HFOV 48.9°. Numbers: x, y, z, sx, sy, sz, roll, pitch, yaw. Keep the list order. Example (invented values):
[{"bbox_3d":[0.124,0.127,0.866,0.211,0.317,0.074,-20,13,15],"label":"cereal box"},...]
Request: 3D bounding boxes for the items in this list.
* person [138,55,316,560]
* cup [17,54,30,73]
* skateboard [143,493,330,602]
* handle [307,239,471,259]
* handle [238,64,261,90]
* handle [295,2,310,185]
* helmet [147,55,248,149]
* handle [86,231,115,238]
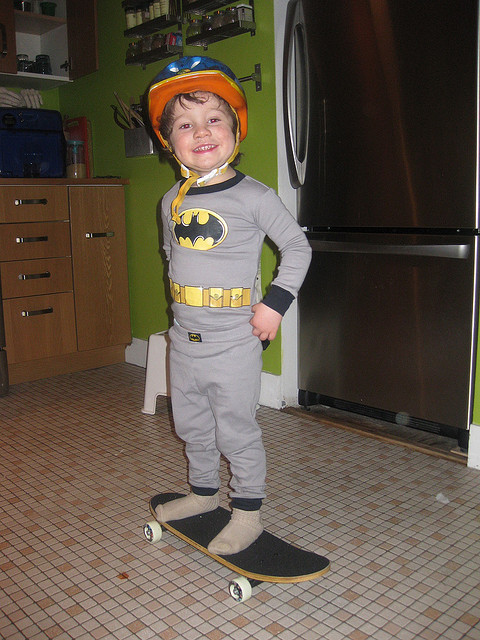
[{"bbox_3d":[-0.062,-0.018,1.153,0.204,1.035,0.397,-7,9,-43],"label":"person"},{"bbox_3d":[-1.271,-1.500,3.098,0.066,0.131,0.151,-4,7,-20],"label":"cup"},{"bbox_3d":[-0.027,0.433,1.147,0.149,0.056,0.386,-6,10,-38],"label":"skateboard"},{"bbox_3d":[0.498,-0.230,1.717,0.542,0.044,0.060,15,-10,46],"label":"handle"},{"bbox_3d":[0.052,-0.924,2.037,0.111,0.080,0.059,-13,36,-19],"label":"handle"},{"bbox_3d":[0.222,-0.813,1.910,0.049,0.603,0.071,-2,7,-5],"label":"handle"},{"bbox_3d":[-0.091,-0.476,1.124,0.211,0.183,0.190,-2,7,-9],"label":"helmet"},{"bbox_3d":[-0.721,-0.437,2.722,0.010,0.026,0.160,5,9,42],"label":"handle"}]
